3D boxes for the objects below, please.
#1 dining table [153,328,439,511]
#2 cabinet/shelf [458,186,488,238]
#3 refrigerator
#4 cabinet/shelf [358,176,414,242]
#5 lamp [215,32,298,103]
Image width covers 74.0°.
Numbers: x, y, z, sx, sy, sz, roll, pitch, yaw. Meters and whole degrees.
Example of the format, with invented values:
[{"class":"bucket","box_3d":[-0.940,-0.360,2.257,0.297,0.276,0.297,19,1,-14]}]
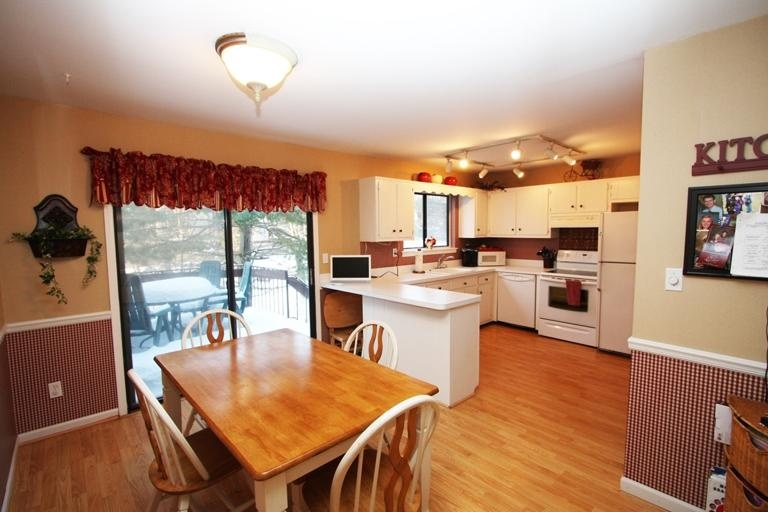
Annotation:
[{"class":"dining table","box_3d":[-0.625,0.669,3.731,1.132,0.840,1.769,-3,7,-42]},{"class":"cabinet/shelf","box_3d":[1.344,-0.656,7.712,0.438,0.731,0.406,0,8,8]},{"class":"refrigerator","box_3d":[2.773,0.318,6.155,0.399,1.687,0.182,5,10,37]},{"class":"cabinet/shelf","box_3d":[-0.008,-0.582,6.331,0.331,0.790,0.866,1,2,40]},{"class":"lamp","box_3d":[-0.982,-1.372,3.928,0.525,0.327,0.509,2,1,-9]}]
